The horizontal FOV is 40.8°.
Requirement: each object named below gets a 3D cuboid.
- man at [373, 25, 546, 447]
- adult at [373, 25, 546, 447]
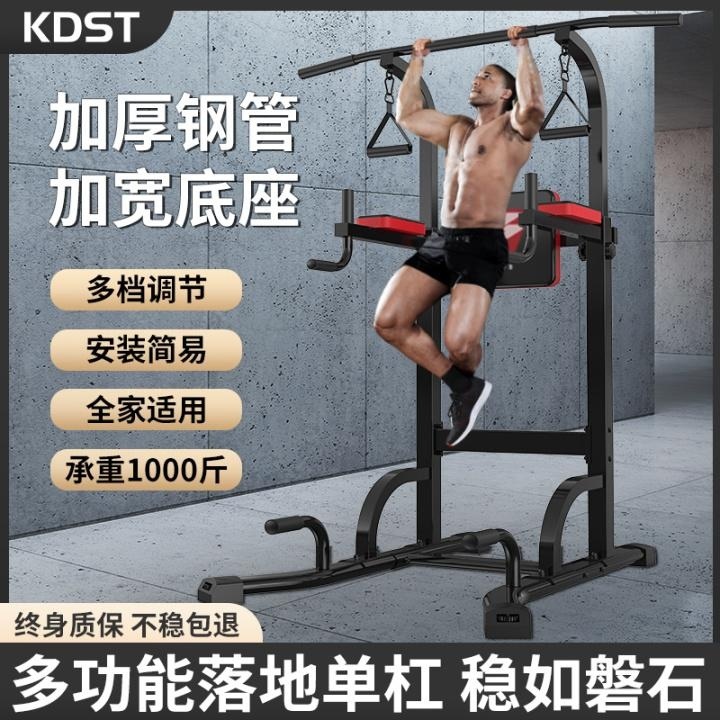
[{"bbox_3d":[0.358,-0.366,3.283,0.662,1.410,0.489,-3,4,28],"label":"man"},{"bbox_3d":[0.362,-0.365,3.285,0.661,1.412,0.497,-3,4,29],"label":"adult"}]
